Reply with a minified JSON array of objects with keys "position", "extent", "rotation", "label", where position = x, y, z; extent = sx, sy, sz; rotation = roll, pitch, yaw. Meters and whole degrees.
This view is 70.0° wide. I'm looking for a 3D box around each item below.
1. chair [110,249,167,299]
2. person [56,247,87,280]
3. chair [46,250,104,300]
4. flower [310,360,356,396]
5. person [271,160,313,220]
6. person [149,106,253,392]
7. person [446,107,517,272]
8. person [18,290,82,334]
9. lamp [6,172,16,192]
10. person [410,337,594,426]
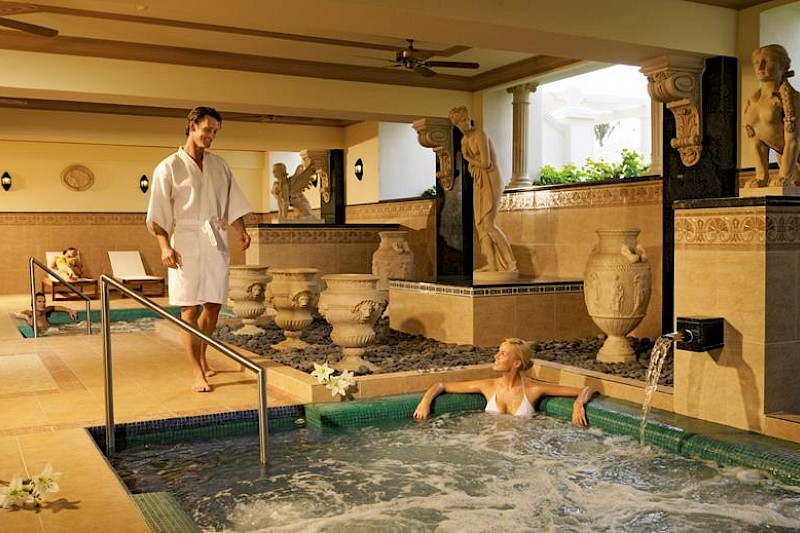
[{"position":[-5.269,0.129,11.471],"extent":[1.077,1.028,1.862],"rotation":[-3,3,-30],"label":"chair"},{"position":[-7.035,-0.087,12.143],"extent":[0.603,0.549,1.418],"rotation":[5,6,-30],"label":"person"},{"position":[-6.746,0.181,11.778],"extent":[1.051,0.995,1.802],"rotation":[-1,3,-29],"label":"chair"},{"position":[-0.520,0.884,4.498],"extent":[0.355,0.306,0.316],"rotation":[-2,7,-4],"label":"flower"},{"position":[-2.059,-1.453,11.254],"extent":[0.819,1.087,1.064],"rotation":[-3,7,-8],"label":"person"},{"position":[-1.562,-0.329,4.542],"extent":[0.756,1.802,0.404],"rotation":[-5,8,-23],"label":"person"},{"position":[1.043,-0.928,7.154],"extent":[0.763,2.118,0.404],"rotation":[0,7,11],"label":"person"},{"position":[-5.257,0.716,8.500],"extent":[0.556,0.674,0.987],"rotation":[0,-1,9],"label":"person"},{"position":[-8.998,-1.953,13.216],"extent":[0.227,0.449,0.091],"rotation":[-5,8,-24],"label":"lamp"},{"position":[0.796,0.827,4.274],"extent":[1.339,0.551,0.424],"rotation":[0,7,8],"label":"person"}]
